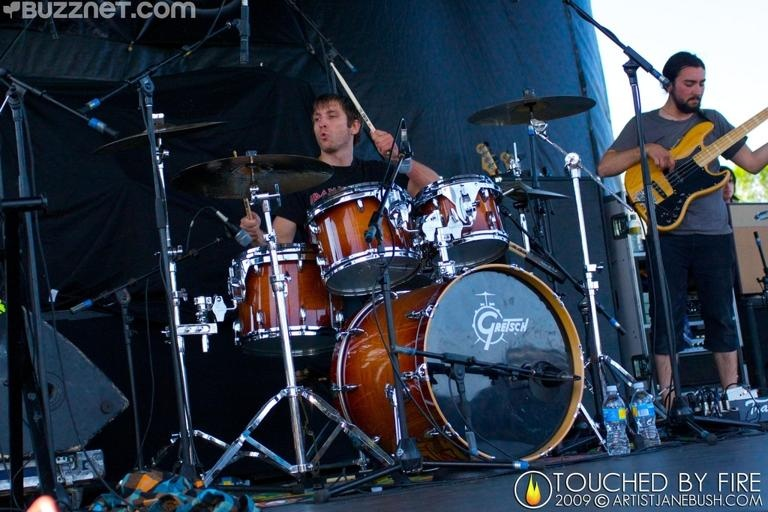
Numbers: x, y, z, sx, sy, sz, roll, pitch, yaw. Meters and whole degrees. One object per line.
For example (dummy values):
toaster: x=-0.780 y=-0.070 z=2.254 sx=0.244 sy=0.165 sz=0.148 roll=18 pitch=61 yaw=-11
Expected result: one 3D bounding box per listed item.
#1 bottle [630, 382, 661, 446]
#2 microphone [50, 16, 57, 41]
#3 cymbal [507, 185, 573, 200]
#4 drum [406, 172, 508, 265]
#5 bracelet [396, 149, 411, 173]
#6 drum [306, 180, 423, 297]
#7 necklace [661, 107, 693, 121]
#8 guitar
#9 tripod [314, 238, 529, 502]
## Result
bottle: x=1.553 y=0.940 z=5.205 sx=0.147 sy=0.366 sz=0.471 roll=-10 pitch=-10 yaw=14
microphone: x=-2.426 y=-1.673 z=6.391 sx=0.059 sy=0.156 sz=0.199 roll=-5 pitch=-10 yaw=-20
cymbal: x=1.019 y=-0.411 z=5.789 sx=0.304 sy=0.059 sz=0.165 roll=-3 pitch=-3 yaw=-40
drum: x=0.492 y=-0.200 z=5.322 sx=0.531 sy=0.414 sz=0.588 roll=-25 pitch=-20 yaw=28
bracelet: x=0.115 y=-0.527 z=4.899 sx=0.099 sy=0.126 sz=0.092 roll=2 pitch=0 yaw=-3
drum: x=-0.008 y=-0.102 z=5.301 sx=0.699 sy=0.419 sz=0.648 roll=-19 pitch=-25 yaw=-9
necklace: x=2.011 y=-0.978 z=6.040 sx=0.127 sy=0.030 sz=0.117 roll=5 pitch=-7 yaw=-7
guitar: x=2.058 y=-0.553 z=6.074 sx=1.347 sy=0.526 sz=0.155 roll=-34 pitch=1 yaw=-10
tripod: x=0.116 y=0.637 z=5.223 sx=1.158 sy=1.381 sz=1.259 roll=-5 pitch=-6 yaw=-6
